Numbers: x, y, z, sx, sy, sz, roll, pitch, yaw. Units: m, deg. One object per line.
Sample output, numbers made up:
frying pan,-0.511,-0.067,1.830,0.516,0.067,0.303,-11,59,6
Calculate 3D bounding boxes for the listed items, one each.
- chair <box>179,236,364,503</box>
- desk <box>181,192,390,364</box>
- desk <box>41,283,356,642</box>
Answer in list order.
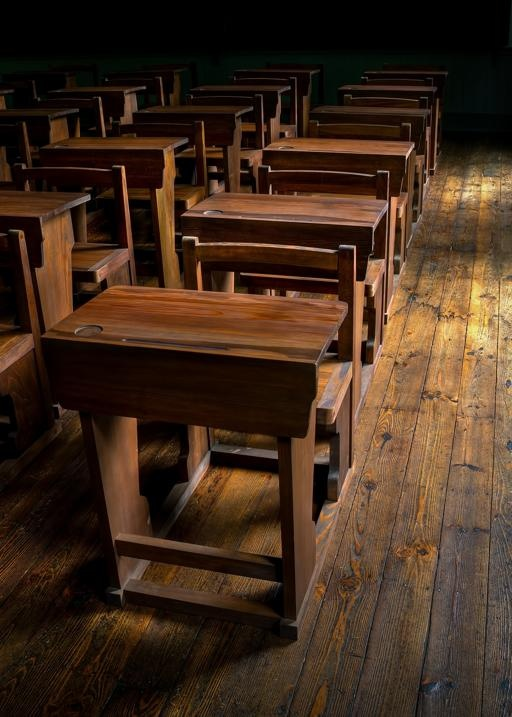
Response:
chair,0.013,0.087,1.464,0.481,0.737,0.494,13,47,15
desk,0.082,-0.227,1.372,0.513,0.481,0.352,9,31,19
desk,-0.097,0.212,1.120,0.489,0.676,0.346,4,24,11
